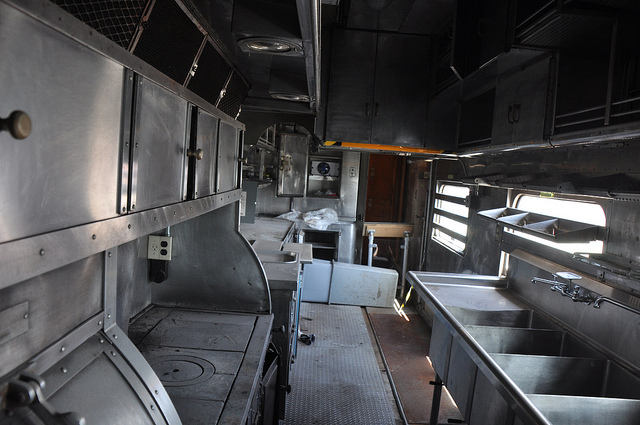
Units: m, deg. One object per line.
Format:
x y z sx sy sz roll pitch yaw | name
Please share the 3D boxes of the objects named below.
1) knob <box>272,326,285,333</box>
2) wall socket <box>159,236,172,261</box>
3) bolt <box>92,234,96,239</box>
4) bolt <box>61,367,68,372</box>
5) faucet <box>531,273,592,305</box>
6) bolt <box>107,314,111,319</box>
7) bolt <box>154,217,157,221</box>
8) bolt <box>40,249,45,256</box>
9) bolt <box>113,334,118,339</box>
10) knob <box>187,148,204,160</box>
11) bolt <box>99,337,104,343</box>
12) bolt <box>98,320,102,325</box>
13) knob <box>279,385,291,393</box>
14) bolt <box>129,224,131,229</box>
-0.306 0.875 2.982 0.079 0.044 0.046 -2 10 -8 | knob
-0.980 0.224 2.528 0.070 0.157 0.053 1 11 -23 | wall socket
-0.711 0.075 1.256 0.002 0.015 0.014 8 10 12 | bolt
-0.861 0.529 1.346 0.009 0.016 0.019 12 12 31 | bolt
1.720 0.547 2.854 0.357 0.145 0.321 3 0 9 | faucet
-0.816 0.400 1.544 0.002 0.017 0.015 10 11 21 | bolt
-0.647 0.025 1.575 0.002 0.013 0.014 8 10 13 | bolt
-0.763 0.110 1.096 0.003 0.017 0.012 8 10 9 | bolt
-0.801 0.485 1.563 0.009 0.005 0.012 4 17 -43 | bolt
-0.563 -0.267 1.804 0.081 0.056 0.048 7 1 -2 | knob
-0.826 0.481 1.509 0.016 0.018 0.010 -3 14 -42 | bolt
-0.827 0.412 1.500 0.001 0.019 0.020 8 10 12 | bolt
-0.266 1.337 3.017 0.085 0.021 0.063 2 4 1 | knob
-0.671 0.048 1.406 0.004 0.013 0.013 2 25 -29 | bolt
